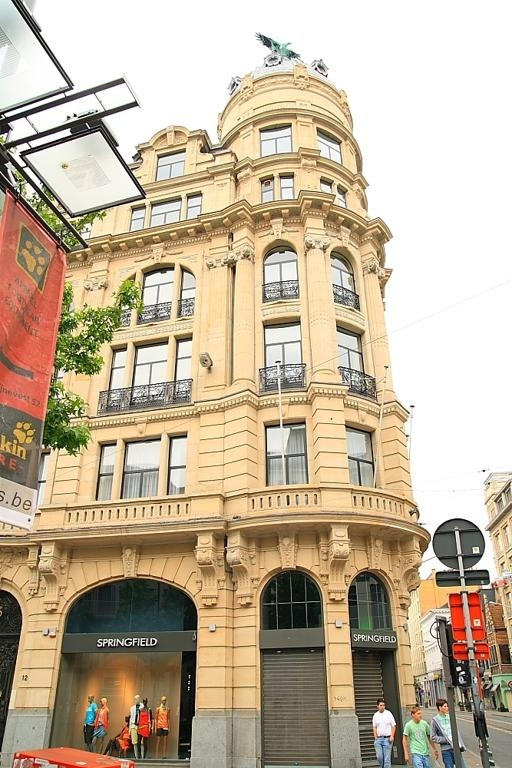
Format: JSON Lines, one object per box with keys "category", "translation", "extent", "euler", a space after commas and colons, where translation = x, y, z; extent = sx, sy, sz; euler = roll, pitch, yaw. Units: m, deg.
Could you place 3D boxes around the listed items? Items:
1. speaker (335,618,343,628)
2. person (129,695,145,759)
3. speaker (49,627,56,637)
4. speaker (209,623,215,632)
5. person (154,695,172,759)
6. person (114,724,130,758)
{"category": "speaker", "translation": [2.542, 7.531, 15.584], "extent": [0.250, 0.253, 0.183], "euler": [0, -43, -5]}
{"category": "person", "translation": [-3.996, 11.494, 16.578], "extent": [0.536, 1.760, 0.396], "euler": [0, -30, 1]}
{"category": "speaker", "translation": [-7.245, 8.869, 17.591], "extent": [0.202, 0.284, 0.111], "euler": [-4, -31, 7]}
{"category": "speaker", "translation": [-1.420, 7.954, 16.150], "extent": [0.258, 0.266, 0.186], "euler": [-1, -28, 0]}
{"category": "person", "translation": [-3.164, 11.435, 16.456], "extent": [0.519, 1.707, 0.567], "euler": [1, -30, -2]}
{"category": "person", "translation": [-4.444, 11.932, 16.539], "extent": [0.469, 0.932, 0.461], "euler": [-1, -30, 1]}
